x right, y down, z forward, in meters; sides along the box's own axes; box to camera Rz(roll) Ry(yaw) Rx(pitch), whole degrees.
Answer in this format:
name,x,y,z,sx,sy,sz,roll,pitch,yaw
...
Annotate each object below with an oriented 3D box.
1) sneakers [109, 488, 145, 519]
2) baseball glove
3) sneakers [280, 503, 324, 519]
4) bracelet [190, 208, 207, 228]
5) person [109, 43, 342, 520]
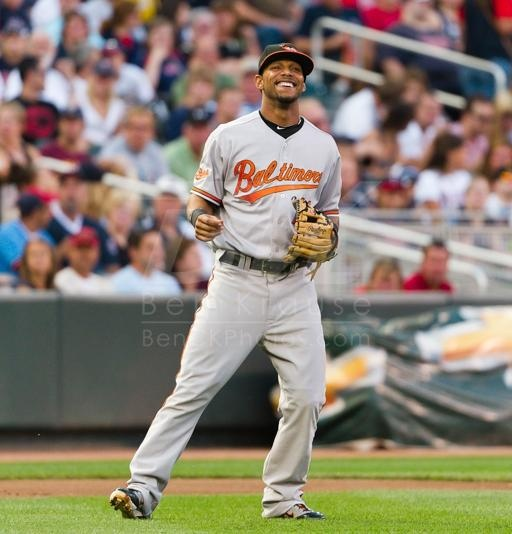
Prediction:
name,x,y,z,sx,sy,sz,roll,pitch,yaw
sneakers,-0.531,0.980,5.394,0.136,0.160,0.143,5,16,5
baseball glove,0.234,-0.116,5.571,0.138,0.299,0.220,-16,-9,14
sneakers,0.188,1.037,5.503,0.204,0.077,0.067,-4,-5,7
bracelet,-0.253,-0.202,5.515,0.058,0.061,0.079,25,-3,18
person,-0.055,0.148,5.550,0.752,2.117,0.927,6,16,9
